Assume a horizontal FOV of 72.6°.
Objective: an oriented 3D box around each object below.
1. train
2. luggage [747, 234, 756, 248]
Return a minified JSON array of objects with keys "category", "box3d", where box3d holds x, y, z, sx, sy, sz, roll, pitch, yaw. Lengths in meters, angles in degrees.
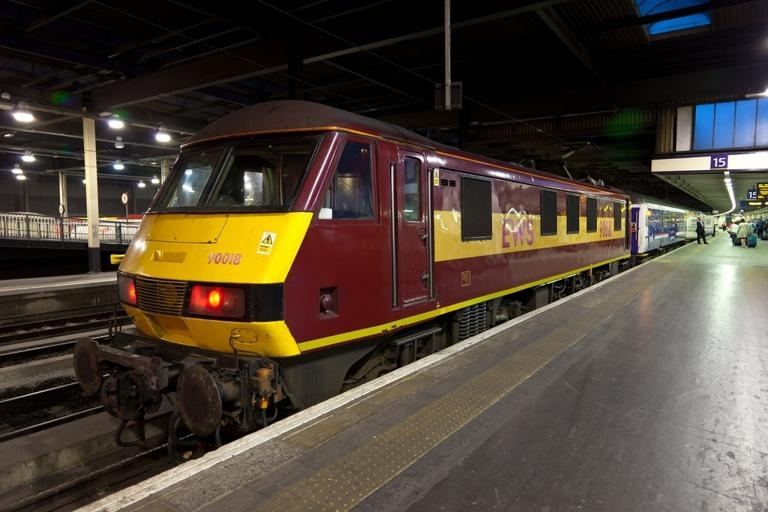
[{"category":"train","box3d":[1.832,-0.055,12.758,3.383,4.166,15.233,0,2,42]},{"category":"luggage","box3d":[20.769,-0.739,29.563,0.438,0.762,1.207,-1,3,33]}]
